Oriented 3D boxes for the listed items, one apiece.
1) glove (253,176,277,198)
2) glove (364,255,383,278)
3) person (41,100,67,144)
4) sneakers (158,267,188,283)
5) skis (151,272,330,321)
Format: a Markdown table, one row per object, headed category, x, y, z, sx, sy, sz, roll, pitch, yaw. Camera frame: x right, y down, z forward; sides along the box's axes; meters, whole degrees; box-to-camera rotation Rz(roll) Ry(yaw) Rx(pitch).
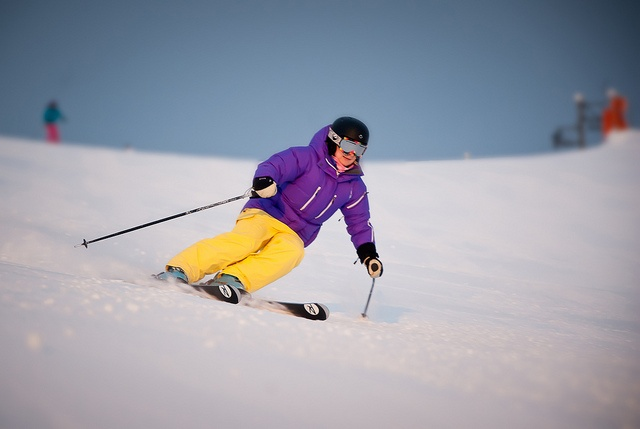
| category | x | y | z | sx | sy | sz | roll | pitch | yaw |
| --- | --- | --- | --- | --- | --- | --- | --- | --- | --- |
| glove | -0.527 | -0.266 | 5.346 | 0.215 | 0.203 | 0.087 | 0 | -2 | -5 |
| glove | 0.574 | 0.563 | 5.940 | 0.145 | 0.225 | 0.095 | -20 | -38 | -8 |
| person | -5.248 | -1.905 | 10.852 | 0.376 | 0.308 | 1.311 | 0 | -41 | -27 |
| sneakers | -1.349 | 0.567 | 5.137 | 0.214 | 0.080 | 0.140 | 10 | 9 | -30 |
| skis | -0.776 | 0.765 | 5.194 | 1.610 | 0.218 | 0.119 | 10 | 27 | -8 |
